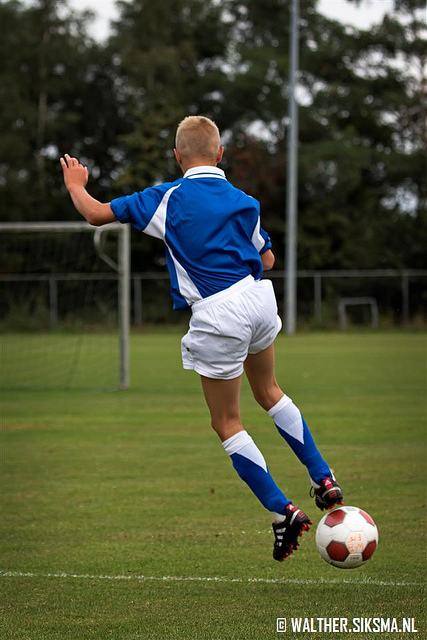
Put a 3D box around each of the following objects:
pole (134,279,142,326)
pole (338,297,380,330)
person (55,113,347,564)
[{"bbox_3d":[-1.849,-0.442,21.480,0.204,1.137,0.638,-1,3,-6],"label":"pole"},{"bbox_3d":[2.032,-0.100,12.311,0.661,0.493,0.622,-2,-13,0],"label":"pole"},{"bbox_3d":[-0.008,0.106,3.939,1.189,2.088,0.545,-1,3,1],"label":"person"}]
